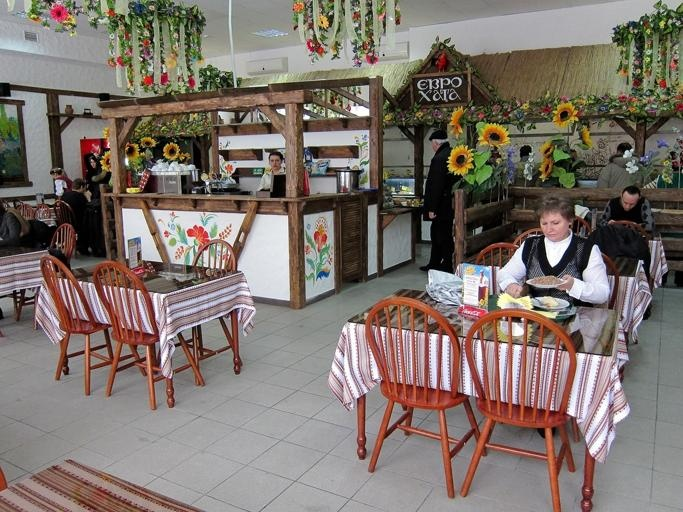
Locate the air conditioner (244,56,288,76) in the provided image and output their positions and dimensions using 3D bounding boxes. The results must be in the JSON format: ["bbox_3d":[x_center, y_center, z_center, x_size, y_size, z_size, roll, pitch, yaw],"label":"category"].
[{"bbox_3d":[-1.874,-4.848,12.382,0.697,0.258,0.207,1,2,28],"label":"air conditioner"}]

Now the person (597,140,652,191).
[{"bbox_3d":[3.938,-1.223,6.797,0.560,0.553,1.436,3,18,21],"label":"person"}]

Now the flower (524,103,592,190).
[{"bbox_3d":[3.444,-1.839,7.679,0.937,1.151,3.655,5,19,27],"label":"flower"}]

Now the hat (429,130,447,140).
[{"bbox_3d":[1.382,-1.731,6.991,0.139,0.111,0.194,-6,14,-24],"label":"hat"}]

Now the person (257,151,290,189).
[{"bbox_3d":[-1.013,-1.249,7.135,0.376,0.485,1.863,-6,17,-7],"label":"person"}]

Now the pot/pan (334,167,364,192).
[{"bbox_3d":[0.128,-1.082,6.945,0.361,0.349,0.396,-1,2,-4],"label":"pot/pan"}]
